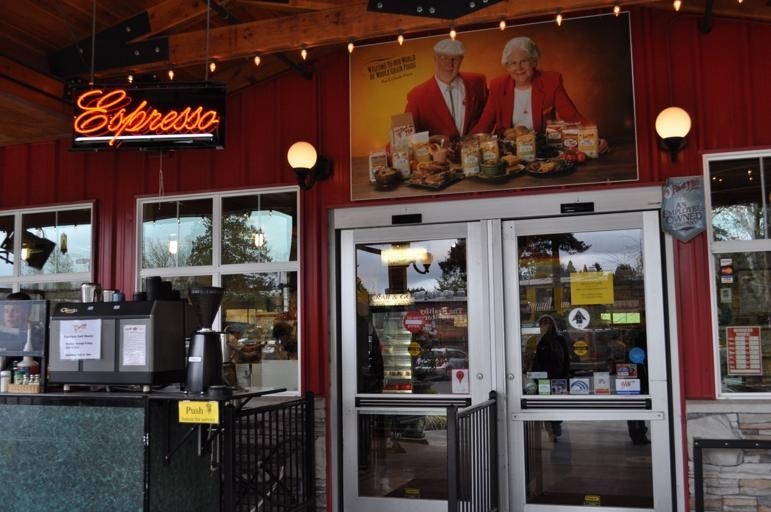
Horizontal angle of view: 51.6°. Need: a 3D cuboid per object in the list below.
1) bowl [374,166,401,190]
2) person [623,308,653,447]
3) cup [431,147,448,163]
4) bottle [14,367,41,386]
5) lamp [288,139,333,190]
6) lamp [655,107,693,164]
[{"bbox_3d":[0.008,-0.812,8.371,0.240,0.148,0.242,0,5,0],"label":"bowl"},{"bbox_3d":[2.465,0.974,7.969,0.234,0.222,1.077,-20,25,26],"label":"person"},{"bbox_3d":[0.562,-1.046,8.256,0.141,0.122,0.152,-1,-5,0],"label":"cup"},{"bbox_3d":[-3.189,1.072,7.063,0.240,0.168,0.063,-3,-10,1],"label":"bottle"},{"bbox_3d":[-0.801,-0.959,8.408,0.279,0.512,0.507,-7,-10,25],"label":"lamp"},{"bbox_3d":[2.788,-1.177,7.730,0.339,0.522,0.341,-3,-10,31],"label":"lamp"}]
